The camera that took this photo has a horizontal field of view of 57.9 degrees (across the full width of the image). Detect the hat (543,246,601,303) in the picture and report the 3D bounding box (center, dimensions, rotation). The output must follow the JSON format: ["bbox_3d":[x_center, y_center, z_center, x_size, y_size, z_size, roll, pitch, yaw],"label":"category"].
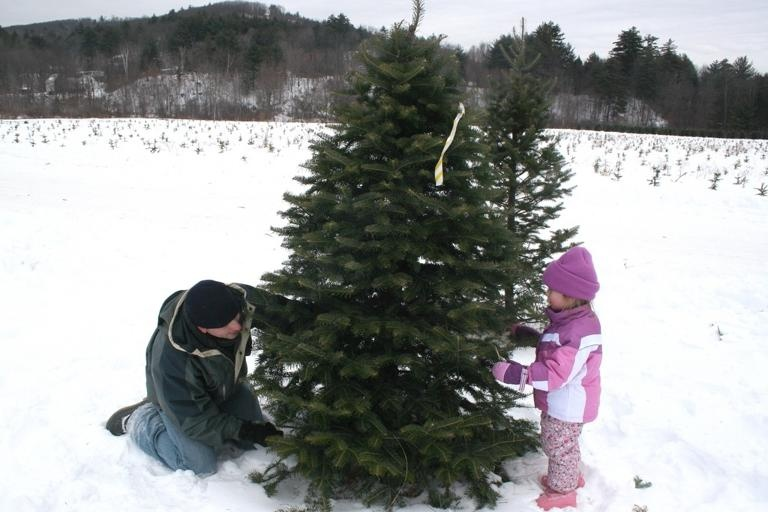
[{"bbox_3d":[3.219,0.302,11.840,0.904,0.769,0.830,29,16,18],"label":"hat"}]

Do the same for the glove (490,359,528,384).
[{"bbox_3d":[2.143,1.988,11.763,0.514,0.229,0.326,8,43,8],"label":"glove"}]

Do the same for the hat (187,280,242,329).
[{"bbox_3d":[-2.986,0.824,12.340,0.899,0.705,0.721,14,4,0],"label":"hat"}]

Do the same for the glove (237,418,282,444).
[{"bbox_3d":[-2.149,3.065,12.105,0.616,0.230,0.413,9,60,-1],"label":"glove"}]
